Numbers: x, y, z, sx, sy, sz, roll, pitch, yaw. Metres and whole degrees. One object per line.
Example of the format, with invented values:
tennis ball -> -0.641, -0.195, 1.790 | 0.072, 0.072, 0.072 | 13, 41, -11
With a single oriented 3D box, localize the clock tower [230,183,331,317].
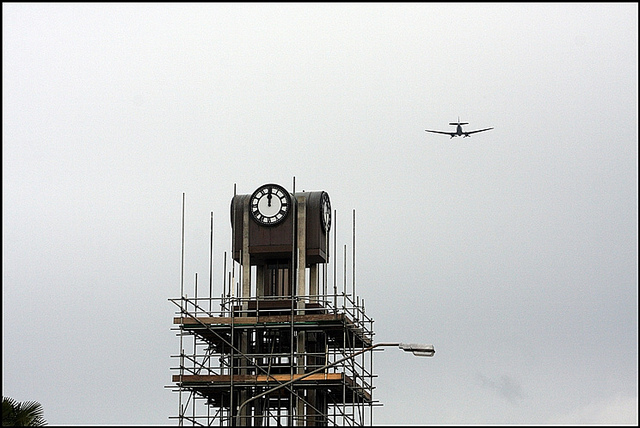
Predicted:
clock tower -> -2.578, 2.673, 105.695 | 5.953, 8.608, 3.083 | -1, -18, 7
